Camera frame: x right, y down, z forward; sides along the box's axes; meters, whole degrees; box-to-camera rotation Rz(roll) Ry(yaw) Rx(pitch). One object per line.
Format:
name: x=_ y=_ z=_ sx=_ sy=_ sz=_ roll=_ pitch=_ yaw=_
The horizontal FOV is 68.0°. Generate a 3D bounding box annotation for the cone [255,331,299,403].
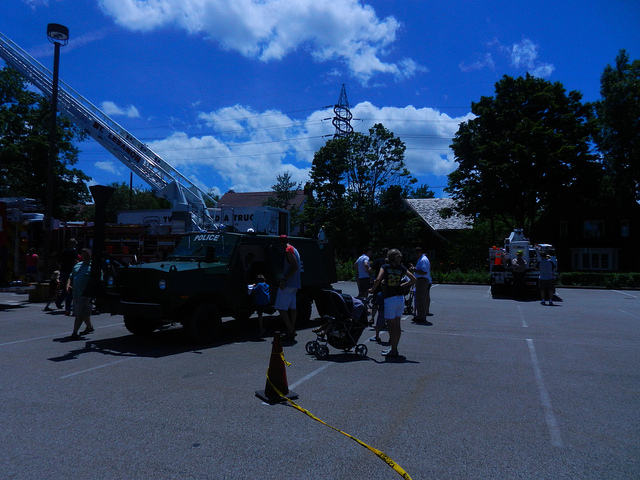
cone: x=-0.646 y=1.967 z=7.438 sx=0.533 sy=1.113 sz=0.575 roll=0 pitch=-1 yaw=24

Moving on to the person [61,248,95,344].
person: x=-5.371 y=1.227 z=10.748 sx=0.618 sy=1.947 sz=0.587 roll=3 pitch=0 yaw=-25

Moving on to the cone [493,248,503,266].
cone: x=8.172 y=0.856 z=21.910 sx=0.388 sy=0.691 sz=0.593 roll=1 pitch=5 yaw=10

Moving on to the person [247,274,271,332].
person: x=-1.425 y=1.493 z=11.353 sx=0.439 sy=1.322 sz=0.511 roll=3 pitch=6 yaw=33

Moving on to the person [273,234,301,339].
person: x=-0.712 y=1.077 z=10.820 sx=0.646 sy=2.390 sz=0.806 roll=2 pitch=-7 yaw=-4

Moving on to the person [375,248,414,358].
person: x=1.451 y=1.264 z=9.595 sx=0.789 sy=2.132 sz=0.541 roll=-1 pitch=-3 yaw=5

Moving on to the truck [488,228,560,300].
truck: x=9.019 y=1.224 z=21.498 sx=2.248 sy=2.638 sz=4.223 roll=-1 pitch=-1 yaw=16

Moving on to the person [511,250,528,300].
person: x=8.726 y=1.516 z=20.797 sx=0.648 sy=2.028 sz=1.291 roll=2 pitch=5 yaw=23

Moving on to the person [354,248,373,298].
person: x=1.239 y=0.843 z=13.135 sx=0.398 sy=1.232 sz=0.577 roll=0 pitch=5 yaw=3
